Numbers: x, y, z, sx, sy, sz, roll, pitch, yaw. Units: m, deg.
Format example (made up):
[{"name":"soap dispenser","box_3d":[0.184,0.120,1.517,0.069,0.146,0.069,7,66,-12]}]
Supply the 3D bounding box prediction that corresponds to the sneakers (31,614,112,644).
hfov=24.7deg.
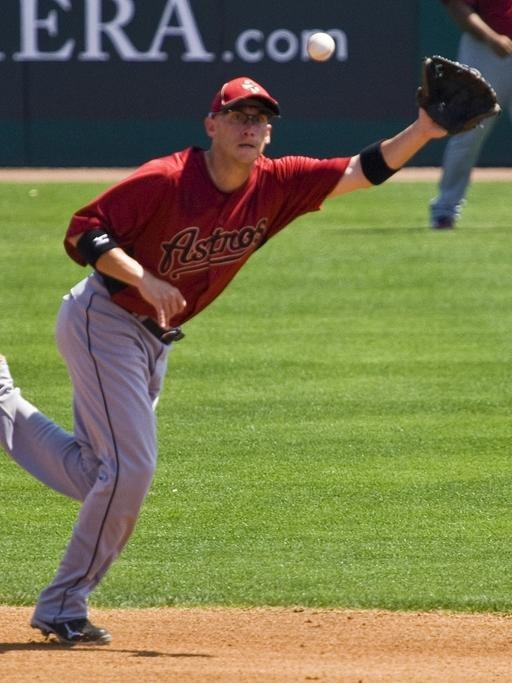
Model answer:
[{"name":"sneakers","box_3d":[-0.547,0.879,3.579,0.254,0.099,0.087,2,4,2]}]

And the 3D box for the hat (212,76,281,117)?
[{"name":"hat","box_3d":[-0.040,-0.767,3.625,0.140,0.079,0.179,0,-8,-29]}]

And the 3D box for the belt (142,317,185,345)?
[{"name":"belt","box_3d":[-0.294,-0.028,3.723,0.116,0.038,0.079,21,11,-11]}]

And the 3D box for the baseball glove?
[{"name":"baseball glove","box_3d":[0.638,-0.824,3.741,0.312,0.091,0.214,17,-11,2]}]
